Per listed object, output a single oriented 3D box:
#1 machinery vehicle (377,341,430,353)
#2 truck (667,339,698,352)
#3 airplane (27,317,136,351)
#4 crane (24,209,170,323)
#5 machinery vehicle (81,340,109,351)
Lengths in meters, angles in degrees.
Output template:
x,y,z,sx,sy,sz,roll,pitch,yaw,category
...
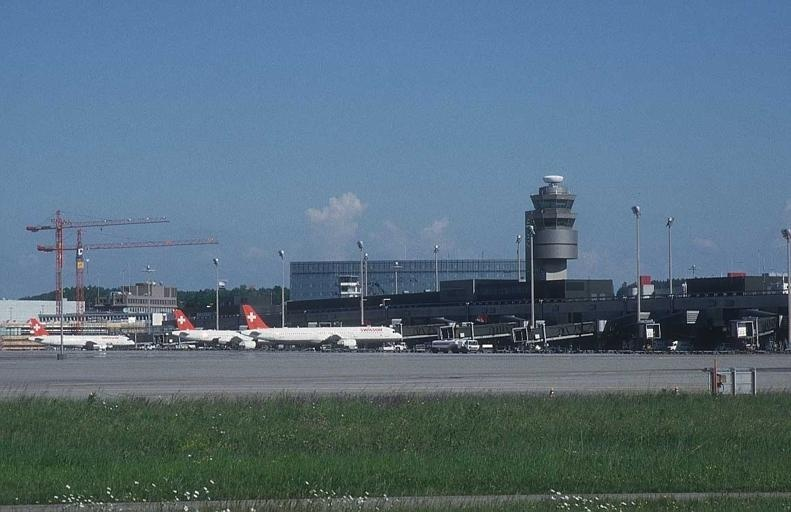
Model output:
x,y,z,sx,sy,sz,roll,pitch,yaw,category
1.406,11.449,237.320,6.063,1.163,12.374,-2,-3,12,machinery vehicle
32.399,10.232,210.981,2.559,1.228,1.587,4,-1,-3,truck
-43.863,10.736,260.255,13.166,4.772,19.243,-1,-3,-8,airplane
-47.634,6.547,301.890,15.746,18.831,47.506,1,0,-31,crane
-40.709,12.171,256.807,3.629,1.458,10.462,-1,-3,-9,machinery vehicle
